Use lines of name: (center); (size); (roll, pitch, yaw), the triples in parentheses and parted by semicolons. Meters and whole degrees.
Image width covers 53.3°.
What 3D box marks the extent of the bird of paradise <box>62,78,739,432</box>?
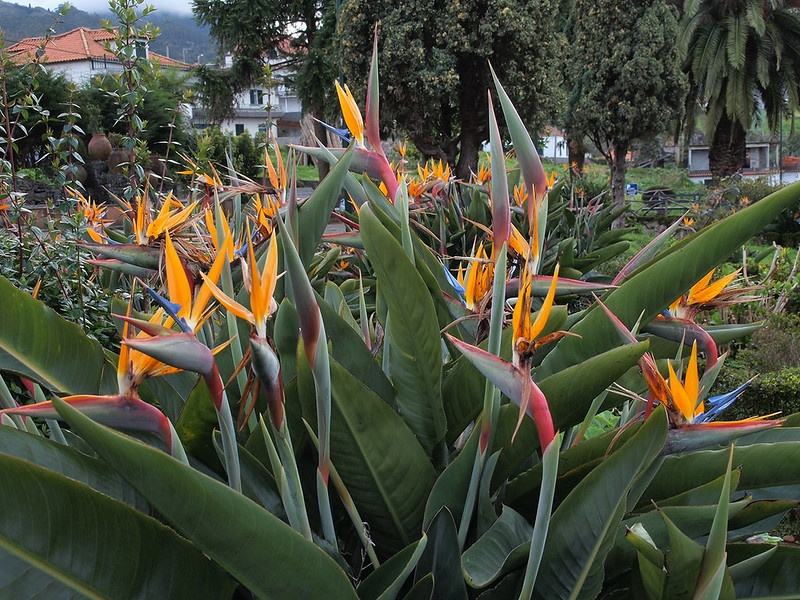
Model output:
bird of paradise: (0.160, -0.044, 1.837); (1.003, 0.761, 1.007); (7, 28, 20)
